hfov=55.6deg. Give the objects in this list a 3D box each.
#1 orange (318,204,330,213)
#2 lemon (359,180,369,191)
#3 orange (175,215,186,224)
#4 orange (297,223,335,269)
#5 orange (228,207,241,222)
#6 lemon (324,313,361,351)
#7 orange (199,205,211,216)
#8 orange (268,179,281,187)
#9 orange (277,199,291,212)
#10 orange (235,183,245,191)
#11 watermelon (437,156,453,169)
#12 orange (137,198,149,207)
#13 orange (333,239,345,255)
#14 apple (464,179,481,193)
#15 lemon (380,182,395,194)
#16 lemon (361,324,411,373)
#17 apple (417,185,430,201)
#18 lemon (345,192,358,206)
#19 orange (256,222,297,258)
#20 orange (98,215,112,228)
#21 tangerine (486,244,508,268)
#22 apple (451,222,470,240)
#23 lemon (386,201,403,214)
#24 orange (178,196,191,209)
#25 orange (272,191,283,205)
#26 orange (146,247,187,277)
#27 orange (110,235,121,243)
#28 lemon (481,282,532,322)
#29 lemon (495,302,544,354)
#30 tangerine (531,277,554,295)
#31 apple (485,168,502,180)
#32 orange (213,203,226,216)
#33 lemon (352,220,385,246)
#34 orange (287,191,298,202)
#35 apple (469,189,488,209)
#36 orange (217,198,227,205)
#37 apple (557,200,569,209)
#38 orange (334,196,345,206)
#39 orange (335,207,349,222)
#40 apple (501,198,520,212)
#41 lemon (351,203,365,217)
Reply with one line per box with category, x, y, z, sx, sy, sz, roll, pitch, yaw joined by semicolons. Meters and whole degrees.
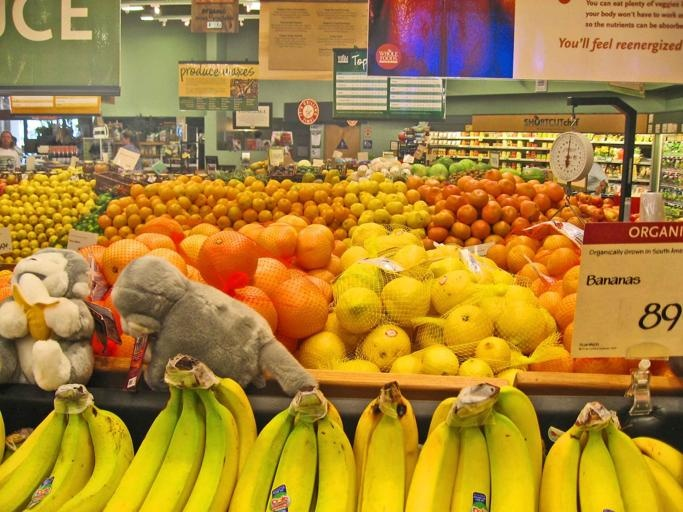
orange;-0.111;-0.315;4.222;0.053;0.065;0.055;-7;5;-29
lemon;0.160;-0.506;4.556;0.055;0.087;0.069;-1;-2;0
orange;-1.050;-0.250;4.271;0.054;0.063;0.068;9;-10;31
orange;-0.100;-0.047;3.058;0.169;0.237;0.160;-5;0;30
orange;-0.696;-0.284;4.240;0.070;0.085;0.088;16;-24;10
lemon;0.002;0.296;2.630;0.122;0.184;0.137;1;0;-1
orange;-0.912;-0.311;4.359;0.061;0.076;0.064;-2;1;7
orange;-0.461;-0.507;4.469;0.054;0.036;0.057;15;20;36
orange;-0.374;-0.350;4.262;0.067;0.084;0.076;-7;16;-18
orange;-0.687;-0.478;4.419;0.045;0.068;0.050;-1;0;5
watermelon;1.036;-0.929;6.511;0.127;0.161;0.138;-3;4;16
orange;-1.343;-0.373;4.406;0.055;0.078;0.064;7;30;-2
orange;-0.023;-0.053;3.520;0.059;0.088;0.064;-5;-10;34
apple;0.835;-0.459;4.136;0.067;0.100;0.073;3;12;3
lemon;0.318;-0.481;4.492;0.073;0.089;0.078;-20;35;-39
lemon;0.182;0.368;2.577;0.163;0.157;0.137;-5;-24;41
apple;0.565;-0.445;4.463;0.079;0.121;0.090;-1;1;8
lemon;0.064;-0.388;4.352;0.073;0.105;0.083;5;15;-8
orange;-0.287;-0.087;2.890;0.134;0.168;0.143;4;21;8
orange;-1.636;-0.259;4.476;0.073;0.109;0.084;8;13;3
tangerine;0.855;-0.013;3.568;0.100;0.152;0.108;-3;7;-6
apple;0.726;-0.159;3.946;0.072;0.094;0.109;10;14;10
lemon;0.344;-0.319;4.158;0.071;0.087;0.080;8;25;12
orange;-1.056;-0.371;4.410;0.068;0.083;0.077;2;41;9
orange;-0.417;-0.394;4.320;0.062;0.079;0.069;9;1;29
orange;-0.681;0.049;2.535;0.129;0.083;0.132;0;24;-45
orange;-1.408;-0.113;4.048;0.044;0.064;0.049;7;13;13
lemon;0.659;0.191;2.613;0.115;0.121;0.174;0;-5;4
lemon;0.709;0.235;2.585;0.185;0.185;0.179;20;8;18
tangerine;0.922;0.130;2.940;0.070;0.089;0.076;-1;2;10
apple;1.035;-0.560;4.406;0.078;0.093;0.082;13;-4;42
orange;-0.798;-0.310;4.262;0.061;0.075;0.063;4;1;10
lemon;0.143;-0.126;3.507;0.141;0.134;0.121;-9;32;-7
orange;-0.324;-0.412;4.371;0.057;0.069;0.067;-9;27;15
apple;0.837;-0.359;3.969;0.098;0.108;0.101;20;25;22
orange;-0.801;-0.383;4.367;0.044;0.065;0.050;4;19;4
apple;1.439;-0.347;4.192;0.045;0.055;0.052;8;-38;9
orange;-0.018;-0.373;4.303;0.057;0.070;0.063;2;0;6
orange;0.001;-0.278;4.219;0.070;0.089;0.075;16;11;25
apple;1.057;-0.339;4.063;0.083;0.082;0.084;-20;-35;2
lemon;0.105;-0.311;4.304;0.071;0.091;0.075;-1;1;4
